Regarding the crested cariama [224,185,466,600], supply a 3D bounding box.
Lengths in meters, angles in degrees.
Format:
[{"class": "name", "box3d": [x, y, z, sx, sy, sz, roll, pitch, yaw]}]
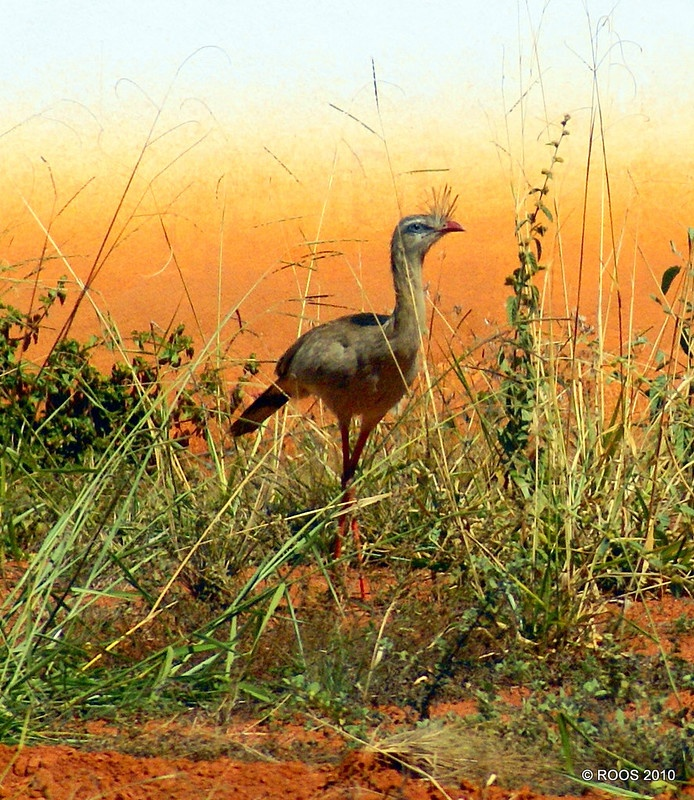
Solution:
[{"class": "crested cariama", "box3d": [0.052, -0.090, 4.355, 0.920, 1.357, 1.255, -9, 15, -25]}]
